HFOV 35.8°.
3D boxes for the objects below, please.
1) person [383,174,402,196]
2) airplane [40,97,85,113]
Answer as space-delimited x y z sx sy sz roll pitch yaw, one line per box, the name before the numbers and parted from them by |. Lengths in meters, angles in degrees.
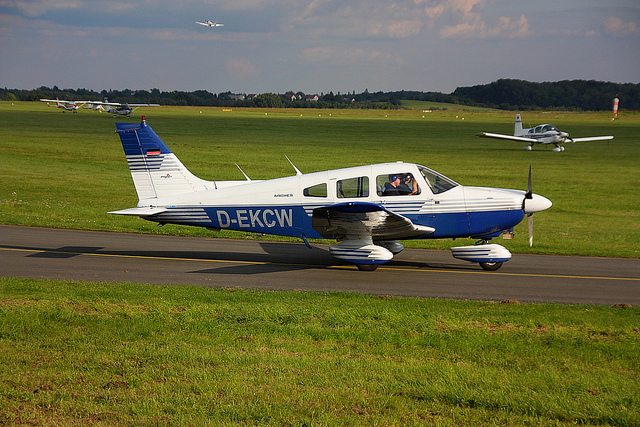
person | 2.791 -1.116 37.759 0.542 0.509 0.875 -3 10 -14
airplane | -34.351 -14.544 132.653 3.816 1.854 15.507 -3 6 -10
